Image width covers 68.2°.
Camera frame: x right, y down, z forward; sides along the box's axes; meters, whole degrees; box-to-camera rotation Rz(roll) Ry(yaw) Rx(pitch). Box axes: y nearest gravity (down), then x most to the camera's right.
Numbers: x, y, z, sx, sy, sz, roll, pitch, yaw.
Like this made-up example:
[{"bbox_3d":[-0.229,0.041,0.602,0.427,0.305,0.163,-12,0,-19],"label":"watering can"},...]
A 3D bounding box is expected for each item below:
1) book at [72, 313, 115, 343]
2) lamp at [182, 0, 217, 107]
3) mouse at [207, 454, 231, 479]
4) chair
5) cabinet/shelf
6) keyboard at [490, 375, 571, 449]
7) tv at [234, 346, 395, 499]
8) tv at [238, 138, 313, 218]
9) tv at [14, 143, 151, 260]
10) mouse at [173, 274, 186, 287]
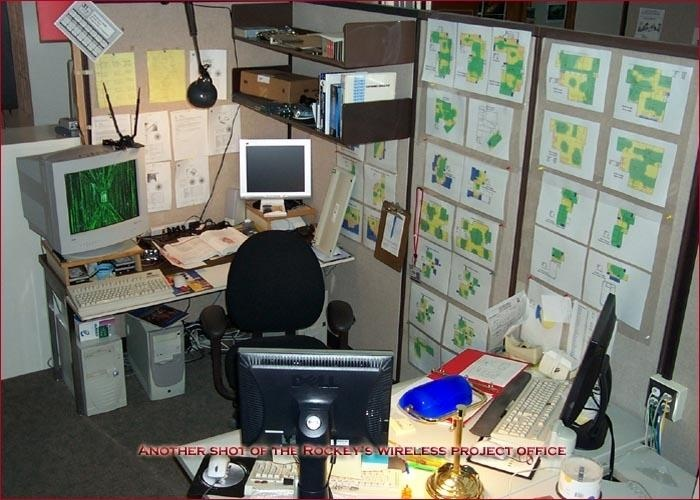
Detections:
[{"bbox_3d":[-1.668,0.499,3.342,0.195,0.176,0.046,-3,21,-36],"label":"book"},{"bbox_3d":[-1.026,-1.290,3.504,0.194,0.713,0.441,-5,25,-13],"label":"lamp"},{"bbox_3d":[-0.528,0.861,2.073,0.079,0.063,0.083,0,24,-2],"label":"mouse"},{"bbox_3d":[-0.425,0.576,2.951,0.896,1.110,0.689,1,19,-13],"label":"chair"},{"bbox_3d":[-0.239,-1.214,3.410,0.637,0.781,1.499,-12,27,-27],"label":"cabinet/shelf"},{"bbox_3d":[0.857,0.726,2.399,0.172,0.041,0.467,17,28,29],"label":"keyboard"},{"bbox_3d":[-0.135,0.667,1.981,0.557,0.567,0.185,2,20,-2],"label":"tv"},{"bbox_3d":[-0.540,-0.539,3.795,0.622,0.626,0.206,0,10,-4],"label":"tv"},{"bbox_3d":[-1.638,-0.365,3.444,0.780,0.713,0.748,19,25,26],"label":"tv"},{"bbox_3d":[-1.122,0.200,3.404,0.066,0.061,0.084,1,17,-13],"label":"mouse"}]
